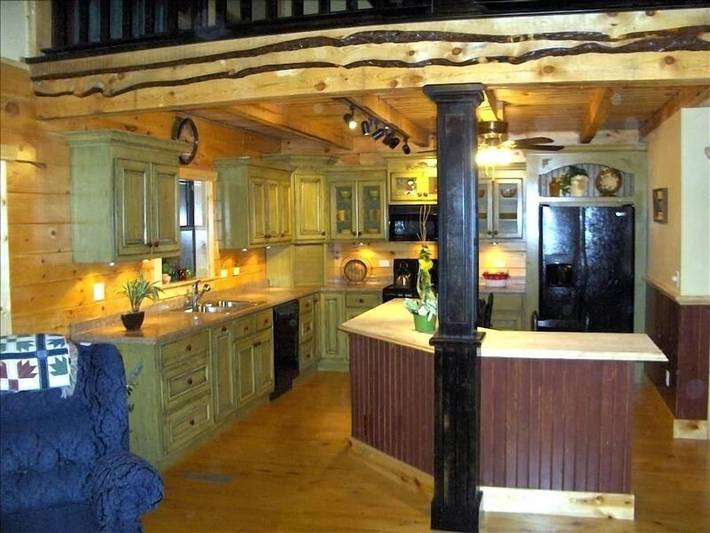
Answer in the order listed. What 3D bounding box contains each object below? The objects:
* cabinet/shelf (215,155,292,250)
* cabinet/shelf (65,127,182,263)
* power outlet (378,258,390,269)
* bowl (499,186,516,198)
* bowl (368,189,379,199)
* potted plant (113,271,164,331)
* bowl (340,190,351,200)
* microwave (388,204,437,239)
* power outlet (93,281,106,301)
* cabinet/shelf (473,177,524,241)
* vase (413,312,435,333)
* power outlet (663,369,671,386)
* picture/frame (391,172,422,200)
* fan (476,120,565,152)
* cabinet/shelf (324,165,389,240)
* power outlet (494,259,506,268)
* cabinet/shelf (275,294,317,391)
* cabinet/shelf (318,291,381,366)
[{"bbox_3d":[-1.201,-0.752,6.703,0.501,0.965,1.251,1,4,16],"label":"cabinet/shelf"},{"bbox_3d":[-1.934,-0.588,4.768,0.663,1.144,1.240,1,3,18],"label":"cabinet/shelf"},{"bbox_3d":[0.394,-0.062,7.945,0.147,0.093,0.020,2,12,13],"label":"power outlet"},{"bbox_3d":[1.933,-0.955,7.394,0.151,0.076,0.146,0,2,0],"label":"bowl"},{"bbox_3d":[0.244,-0.960,7.670,0.135,0.100,0.127,1,10,0],"label":"bowl"},{"bbox_3d":[-1.848,0.286,4.979,0.509,0.445,0.453,1,1,-11],"label":"potted plant"},{"bbox_3d":[-0.137,-0.959,7.657,0.126,0.093,0.144,0,5,14],"label":"bowl"},{"bbox_3d":[0.764,-0.587,7.579,0.865,0.559,0.444,0,-1,6],"label":"microwave"},{"bbox_3d":[-2.161,0.196,4.912,0.018,0.151,0.165,-2,7,21],"label":"power outlet"},{"bbox_3d":[1.847,-0.732,7.477,0.903,0.786,0.329,3,2,44],"label":"cabinet/shelf"},{"bbox_3d":[0.536,0.433,4.529,0.176,0.104,0.137,0,1,-20],"label":"vase"},{"bbox_3d":[3.087,1.085,5.771,0.034,0.161,0.253,0,0,27],"label":"power outlet"},{"bbox_3d":[0.667,-1.064,7.497,0.385,0.310,0.127,0,8,8],"label":"picture/frame"},{"bbox_3d":[1.593,-1.249,5.616,0.652,0.261,1.135,3,8,22],"label":"fan"},{"bbox_3d":[0.042,-0.881,7.618,1.068,1.044,0.463,0,7,7],"label":"cabinet/shelf"},{"bbox_3d":[1.909,-0.054,7.720,0.172,0.147,0.089,3,12,16],"label":"power outlet"},{"bbox_3d":[-0.706,0.862,6.705,0.424,0.900,1.126,0,3,12],"label":"cabinet/shelf"},{"bbox_3d":[0.030,0.780,7.741,1.009,1.242,0.914,0,-1,4],"label":"cabinet/shelf"}]
